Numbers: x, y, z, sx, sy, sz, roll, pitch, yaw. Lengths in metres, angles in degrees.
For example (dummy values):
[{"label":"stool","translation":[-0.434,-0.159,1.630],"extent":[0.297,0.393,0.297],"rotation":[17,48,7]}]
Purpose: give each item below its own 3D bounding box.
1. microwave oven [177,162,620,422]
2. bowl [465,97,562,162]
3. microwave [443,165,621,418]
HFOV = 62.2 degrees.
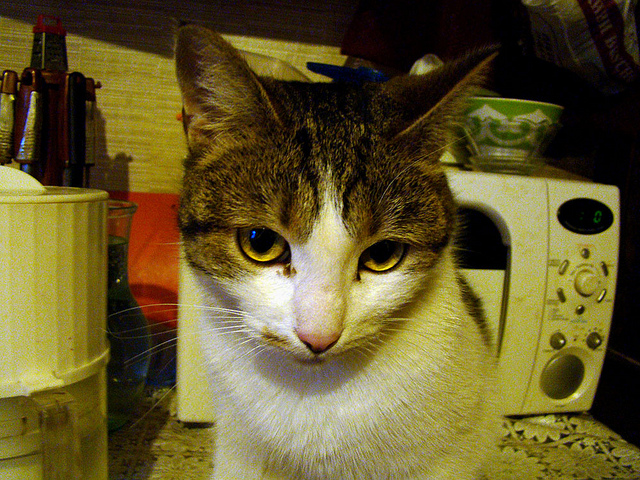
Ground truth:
[{"label":"microwave oven","translation":[0.260,0.063,1.368],"extent":[0.997,0.545,0.652],"rotation":[-1,93,-2]},{"label":"bowl","translation":[0.405,-0.205,1.120],"extent":[0.170,0.165,0.099],"rotation":[1,97,-1]},{"label":"microwave","translation":[0.365,0.131,1.249],"extent":[0.548,0.351,0.485],"rotation":[2,88,-2]}]
